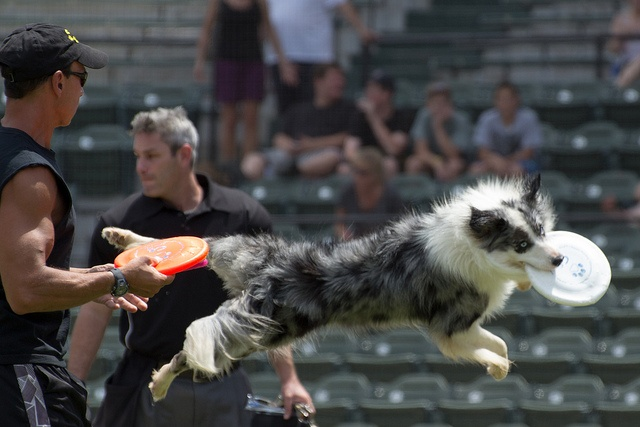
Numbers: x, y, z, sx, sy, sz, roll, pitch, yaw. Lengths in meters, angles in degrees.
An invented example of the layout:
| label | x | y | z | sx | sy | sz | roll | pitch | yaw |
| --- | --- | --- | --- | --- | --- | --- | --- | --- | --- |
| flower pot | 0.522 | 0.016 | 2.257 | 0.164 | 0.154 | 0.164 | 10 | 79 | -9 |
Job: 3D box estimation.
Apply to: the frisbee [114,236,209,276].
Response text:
| label | x | y | z | sx | sy | sz | roll | pitch | yaw |
| --- | --- | --- | --- | --- | --- | --- | --- | --- | --- |
| frisbee | -1.299 | 0.345 | 14.737 | 0.511 | 0.112 | 0.456 | -6 | 19 | 4 |

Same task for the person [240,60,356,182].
| label | x | y | z | sx | sy | sz | roll | pitch | yaw |
| --- | --- | --- | --- | --- | --- | --- | --- | --- | --- |
| person | -0.085 | -0.875 | 16.861 | 1.041 | 1.152 | 1.090 | 12 | 13 | 40 |

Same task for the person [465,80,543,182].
| label | x | y | z | sx | sy | sz | roll | pitch | yaw |
| --- | --- | --- | --- | --- | --- | --- | --- | --- | --- |
| person | 2.020 | -0.872 | 17.429 | 0.987 | 1.117 | 0.904 | -1 | 5 | 8 |

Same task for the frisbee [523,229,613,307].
| label | x | y | z | sx | sy | sz | roll | pitch | yaw |
| --- | --- | --- | --- | --- | --- | --- | --- | --- | --- |
| frisbee | 2.118 | 0.477 | 14.662 | 0.731 | 0.140 | 0.663 | -20 | 59 | -25 |
